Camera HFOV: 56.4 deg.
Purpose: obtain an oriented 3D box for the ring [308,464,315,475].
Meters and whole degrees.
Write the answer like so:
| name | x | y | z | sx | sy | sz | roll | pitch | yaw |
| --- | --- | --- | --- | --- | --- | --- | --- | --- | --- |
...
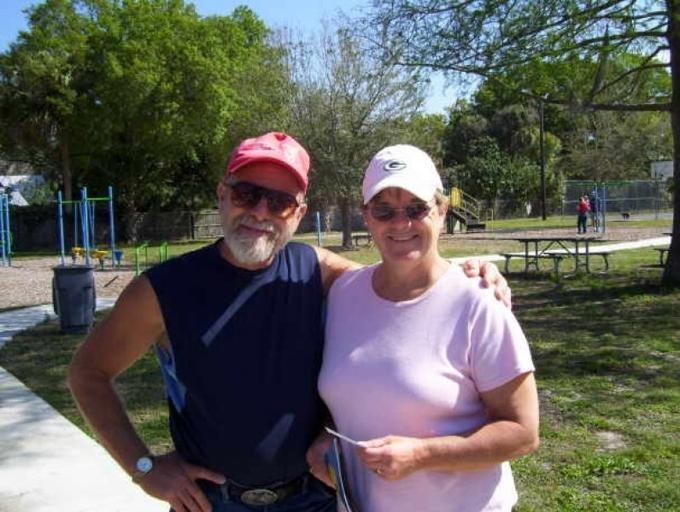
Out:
| name | x | y | z | sx | sy | sz | roll | pitch | yaw |
| --- | --- | --- | --- | --- | --- | --- | --- | --- | --- |
| ring | -0.150 | 1.130 | 3.361 | 0.036 | 0.056 | 0.049 | 0 | -4 | -14 |

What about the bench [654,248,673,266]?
| name | x | y | z | sx | sy | sz | roll | pitch | yaw |
| --- | --- | --- | --- | --- | --- | --- | --- | --- | --- |
| bench | 7.814 | 0.025 | 15.333 | 0.337 | 0.393 | 0.374 | -2 | 4 | 9 |

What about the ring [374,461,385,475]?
| name | x | y | z | sx | sy | sz | roll | pitch | yaw |
| --- | --- | --- | --- | --- | --- | --- | --- | --- | --- |
| ring | 0.183 | 0.999 | 3.016 | 0.036 | 0.055 | 0.055 | -14 | 9 | -8 |
